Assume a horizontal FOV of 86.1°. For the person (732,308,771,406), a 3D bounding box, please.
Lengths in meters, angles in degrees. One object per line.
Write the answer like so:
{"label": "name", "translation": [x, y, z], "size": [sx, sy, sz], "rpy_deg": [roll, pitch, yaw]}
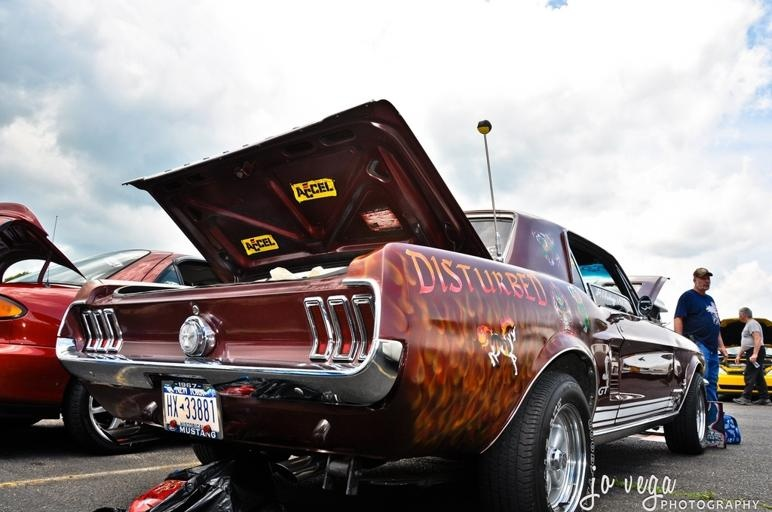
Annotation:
{"label": "person", "translation": [9.033, 2.660, 10.300], "size": [0.765, 2.060, 1.489], "rpy_deg": [-16, -17, 36]}

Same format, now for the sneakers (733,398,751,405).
{"label": "sneakers", "translation": [8.759, 3.633, 10.177], "size": [0.356, 0.155, 0.157], "rpy_deg": [1, -4, 34]}
